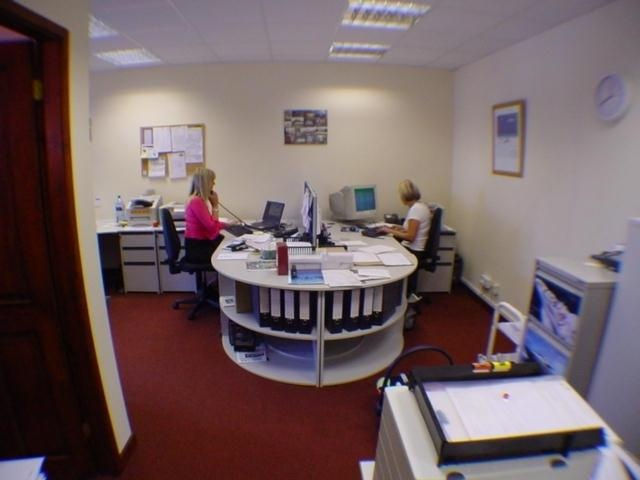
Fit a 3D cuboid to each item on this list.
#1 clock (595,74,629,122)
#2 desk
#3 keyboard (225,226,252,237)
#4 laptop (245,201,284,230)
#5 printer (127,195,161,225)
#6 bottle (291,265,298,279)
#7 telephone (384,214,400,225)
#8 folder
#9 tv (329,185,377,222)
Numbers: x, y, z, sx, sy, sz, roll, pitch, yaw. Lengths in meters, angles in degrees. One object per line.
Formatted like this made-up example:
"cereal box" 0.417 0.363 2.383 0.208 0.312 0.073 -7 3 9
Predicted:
"clock" 1.980 -0.956 3.164 0.044 0.311 0.239 -3 13 -18
"desk" -0.011 0.591 3.482 1.115 0.604 1.175 3 16 7
"keyboard" -0.784 -0.087 4.486 0.195 0.039 0.363 -5 12 -19
"laptop" -0.530 -0.233 4.726 0.318 0.312 0.238 12 5 31
"printer" -1.781 -0.308 4.745 0.234 0.236 0.347 1 13 -5
"bottle" -0.184 0.222 3.373 0.051 0.074 0.085 0 13 -4
"telephone" 0.785 -0.231 5.076 0.129 0.119 0.112 1 8 14
"folder" -0.012 0.497 3.181 0.484 0.191 0.509 0 6 -5
"tv" 0.351 -0.416 4.945 0.380 0.384 0.386 8 12 40
